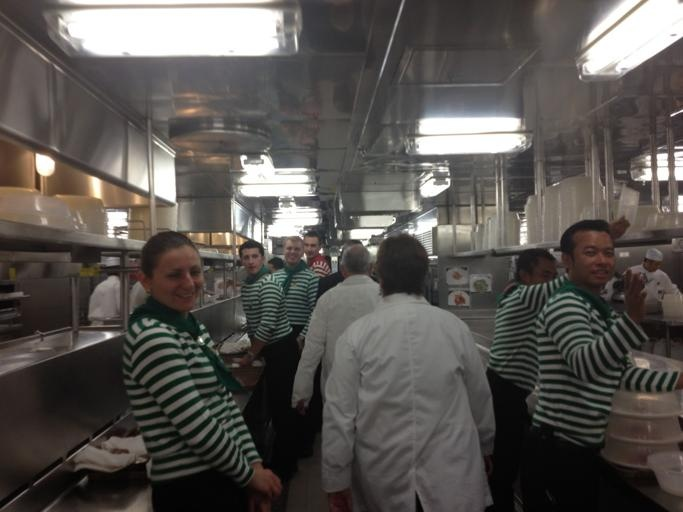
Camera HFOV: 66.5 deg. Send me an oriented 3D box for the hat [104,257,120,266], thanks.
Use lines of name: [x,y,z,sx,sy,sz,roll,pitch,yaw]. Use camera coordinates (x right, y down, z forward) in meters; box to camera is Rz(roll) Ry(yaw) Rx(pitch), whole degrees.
hat: [-1.647,0.039,3.724,0.057,0.045,0.059,0,-4,15]
